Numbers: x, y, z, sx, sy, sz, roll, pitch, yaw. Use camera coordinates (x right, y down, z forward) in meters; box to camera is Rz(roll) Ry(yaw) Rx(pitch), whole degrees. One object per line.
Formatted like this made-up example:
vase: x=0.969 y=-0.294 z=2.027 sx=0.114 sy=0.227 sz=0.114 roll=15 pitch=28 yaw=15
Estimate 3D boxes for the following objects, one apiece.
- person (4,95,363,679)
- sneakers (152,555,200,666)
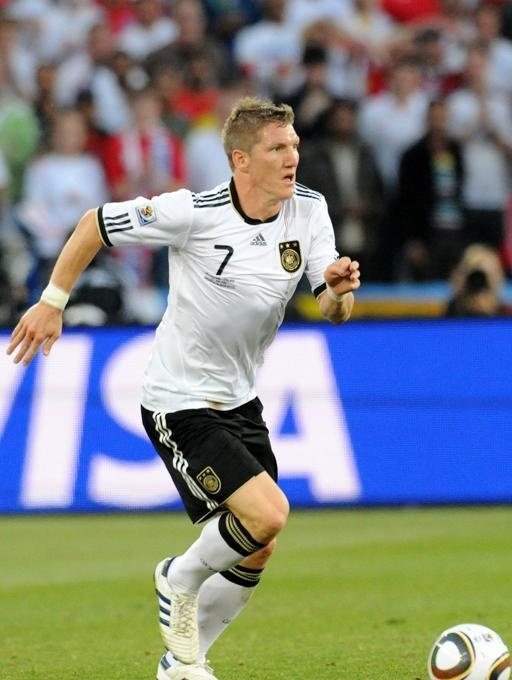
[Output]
person: x=-0.149 y=0.301 z=3.145 sx=1.206 sy=1.688 sz=0.874 roll=-26 pitch=27 yaw=-35
sneakers: x=-0.274 y=0.990 z=3.066 sx=0.141 sy=0.368 sz=0.167 roll=-6 pitch=-19 yaw=-42
